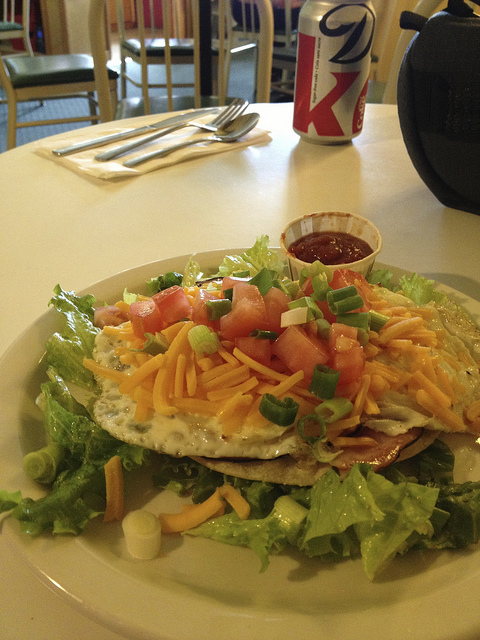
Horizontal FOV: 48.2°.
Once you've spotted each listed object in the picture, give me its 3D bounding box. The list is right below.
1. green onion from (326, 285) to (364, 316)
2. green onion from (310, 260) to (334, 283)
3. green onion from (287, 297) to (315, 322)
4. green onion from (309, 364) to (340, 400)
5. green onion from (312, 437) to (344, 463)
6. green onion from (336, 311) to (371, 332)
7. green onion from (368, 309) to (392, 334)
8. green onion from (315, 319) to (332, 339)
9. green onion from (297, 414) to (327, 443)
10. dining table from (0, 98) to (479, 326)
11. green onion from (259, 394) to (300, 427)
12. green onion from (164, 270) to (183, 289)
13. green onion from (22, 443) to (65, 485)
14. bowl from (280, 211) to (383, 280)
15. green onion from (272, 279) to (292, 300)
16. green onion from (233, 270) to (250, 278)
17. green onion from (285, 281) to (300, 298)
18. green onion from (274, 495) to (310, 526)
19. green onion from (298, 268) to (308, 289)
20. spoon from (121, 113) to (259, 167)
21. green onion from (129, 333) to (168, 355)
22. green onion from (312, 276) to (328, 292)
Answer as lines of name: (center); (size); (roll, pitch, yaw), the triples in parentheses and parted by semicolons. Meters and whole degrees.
green onion: (0.167, -0.033, 0.860); (0.054, 0.046, 0.020); (-14, -17, 2)
green onion: (0.141, -0.090, 0.951); (0.035, 0.042, 0.015); (-20, -9, -4)
green onion: (0.098, -0.019, 0.875); (0.066, 0.031, 0.060); (-3, 11, -7)
green onion: (0.126, 0.093, 0.811); (0.042, 0.052, 0.029); (4, 22, 7)
green onion: (0.124, 0.200, 0.814); (0.039, 0.017, 0.050); (10, 30, 3)
green onion: (0.184, 0.003, 0.871); (0.049, 0.019, 0.026); (9, 47, 0)
green onion: (0.233, 0.001, 0.909); (0.035, 0.035, 0.033); (11, -14, 6)
green onion: (0.131, 0.013, 0.882); (0.022, 0.030, 0.030); (-3, 53, -1)
green onion: (0.109, 0.157, 0.811); (0.040, 0.055, 0.057); (5, 22, 10)
dining table: (-0.073, -0.427, 1.641); (1.415, 0.488, 1.211); (-1, 20, -7)
green onion: (0.054, 0.132, 0.792); (0.053, 0.031, 0.049); (20, 20, -17)
green onion: (-0.145, -0.086, 1.152); (0.049, 0.012, 0.047); (0, 50, -15)
green onion: (-0.293, 0.211, 0.804); (0.032, 0.062, 0.084); (3, 21, 3)
bowl: (0.210, -0.182, 1.232); (0.207, 0.085, 0.197); (-4, 36, 3)
green onion: (0.070, -0.052, 0.956); (0.037, 0.011, 0.035); (30, 26, -35)
green onion: (0.005, -0.091, 1.063); (0.019, 0.012, 0.019); (8, 12, 34)
green onion: (0.096, -0.058, 0.980); (0.022, 0.027, 0.027); (5, 42, 36)
green onion: (0.067, 0.266, 0.764); (0.028, 0.009, 0.028); (23, 32, 38)
green onion: (0.113, -0.078, 0.967); (0.009, 0.029, 0.022); (6, 17, -26)
spoon: (-0.172, -0.631, 1.903); (0.487, 0.067, 0.097); (-26, 44, -22)
green onion: (-0.151, 0.041, 0.871); (0.044, 0.016, 0.042); (18, -14, -27)
green onion: (0.132, -0.061, 0.897); (0.022, 0.025, 0.011); (-5, -16, 33)
